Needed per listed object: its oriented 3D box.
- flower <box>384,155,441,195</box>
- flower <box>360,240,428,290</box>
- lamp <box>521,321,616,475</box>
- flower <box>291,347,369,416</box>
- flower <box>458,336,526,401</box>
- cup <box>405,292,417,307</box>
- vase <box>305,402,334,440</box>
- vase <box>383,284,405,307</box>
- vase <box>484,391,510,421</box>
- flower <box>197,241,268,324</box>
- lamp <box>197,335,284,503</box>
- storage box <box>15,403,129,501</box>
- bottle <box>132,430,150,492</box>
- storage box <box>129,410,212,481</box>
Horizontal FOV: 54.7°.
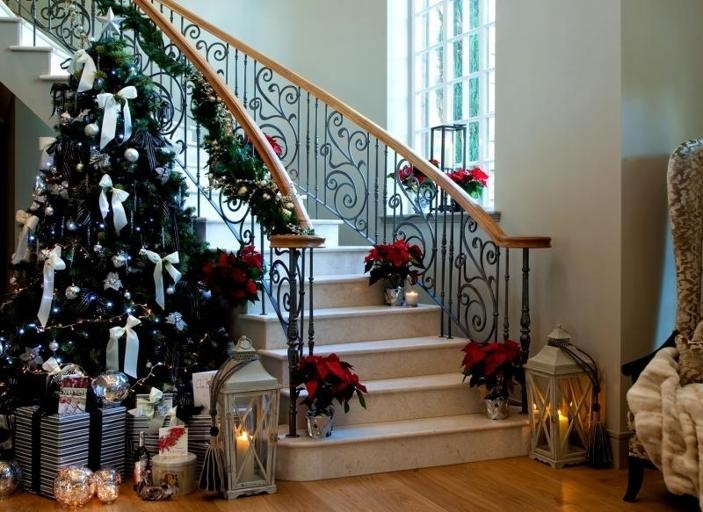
[{"bbox_3d":[0.417,-0.633,5.313,0.475,0.285,0.414,1,-5,-42],"label":"flower"},{"bbox_3d":[0.289,0.053,4.971,0.342,0.278,0.364,0,-1,-13],"label":"flower"},{"bbox_3d":[1.326,0.867,4.245,0.461,0.815,0.446,-2,-2,17],"label":"lamp"},{"bbox_3d":[-0.131,0.746,3.985,0.420,0.357,0.356,-2,-4,-3],"label":"flower"},{"bbox_3d":[0.896,0.670,4.265,0.349,0.383,0.357,0,-1,-24],"label":"flower"},{"bbox_3d":[0.440,0.315,4.983,0.089,0.112,0.094,0,4,0],"label":"cup"},{"bbox_3d":[-0.187,0.972,3.971,0.150,0.156,0.165,0,-4,3],"label":"vase"},{"bbox_3d":[0.315,0.278,4.996,0.125,0.116,0.133,4,-7,-39],"label":"vase"},{"bbox_3d":[0.912,0.951,4.270,0.133,0.150,0.151,-1,-9,0],"label":"vase"},{"bbox_3d":[-0.751,0.122,4.335,0.396,0.392,0.211,-1,-3,-11],"label":"flower"},{"bbox_3d":[-0.625,0.886,3.788,0.450,0.870,0.206,-2,-3,-3],"label":"lamp"},{"bbox_3d":[-1.580,1.066,3.891,0.447,0.519,0.491,3,-1,-10],"label":"storage box"},{"bbox_3d":[-1.160,1.133,3.772,0.092,0.307,0.250,-1,-4,-19],"label":"bottle"},{"bbox_3d":[-1.054,0.962,3.875,0.497,0.372,0.300,1,-5,-8],"label":"storage box"}]
